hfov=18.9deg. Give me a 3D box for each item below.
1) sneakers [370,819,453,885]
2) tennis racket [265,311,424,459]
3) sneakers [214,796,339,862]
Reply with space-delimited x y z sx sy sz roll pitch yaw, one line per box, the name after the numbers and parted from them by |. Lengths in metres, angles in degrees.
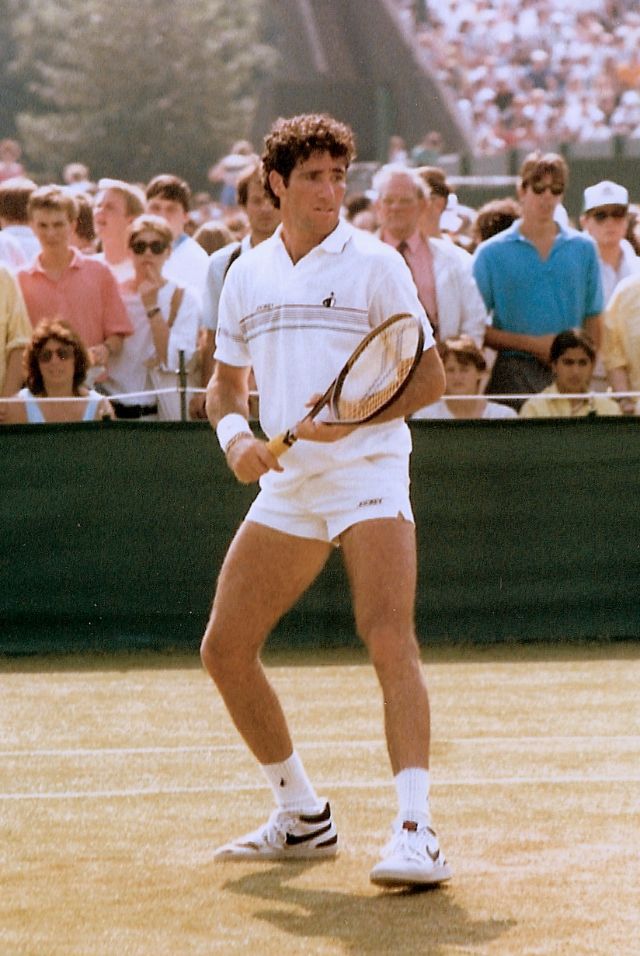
0.236 0.990 5.000 0.201 0.172 0.139 -2 14 3 | sneakers
0.082 -0.175 5.172 0.228 0.578 0.045 47 18 27 | tennis racket
-0.107 1.009 5.538 0.378 0.205 0.139 1 -1 -5 | sneakers
